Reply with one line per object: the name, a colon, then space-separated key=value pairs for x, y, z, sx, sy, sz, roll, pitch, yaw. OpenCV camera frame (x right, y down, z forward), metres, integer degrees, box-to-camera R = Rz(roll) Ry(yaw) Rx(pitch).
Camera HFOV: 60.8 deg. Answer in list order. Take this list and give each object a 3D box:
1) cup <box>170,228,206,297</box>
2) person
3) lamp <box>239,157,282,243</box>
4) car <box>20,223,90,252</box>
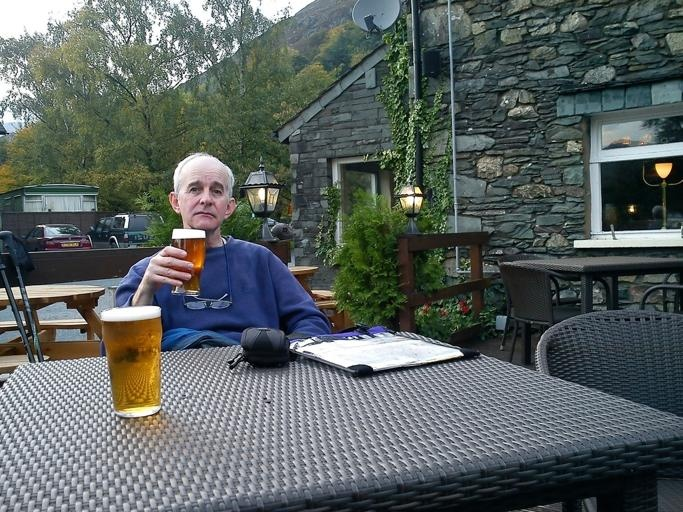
cup: x=-0.483 y=0.025 z=1.827 sx=0.097 sy=0.231 sz=0.169 roll=-4 pitch=9 yaw=-17
person: x=-0.490 y=0.122 z=2.326 sx=0.756 sy=1.039 sz=0.592 roll=-3 pitch=-6 yaw=-15
lamp: x=-0.835 y=-0.576 z=6.147 sx=0.446 sy=0.864 sz=0.473 roll=-3 pitch=0 yaw=37
car: x=-8.827 y=-0.567 z=18.057 sx=1.409 sy=0.745 sz=2.576 roll=-9 pitch=11 yaw=-43
